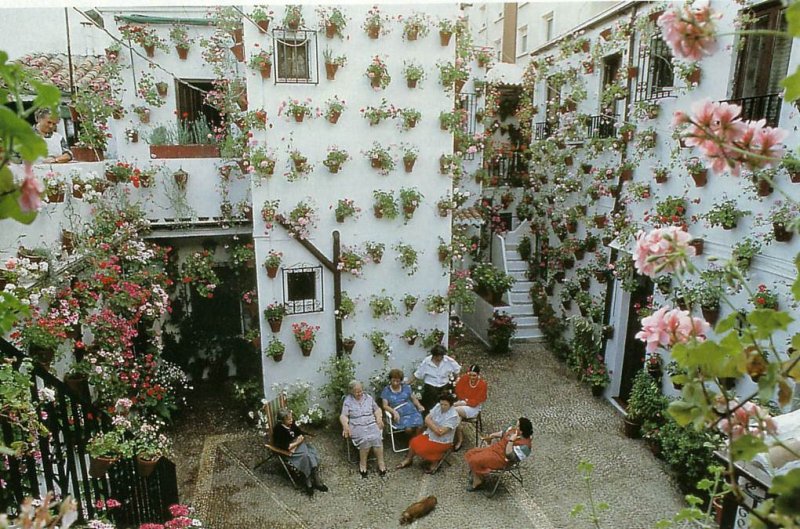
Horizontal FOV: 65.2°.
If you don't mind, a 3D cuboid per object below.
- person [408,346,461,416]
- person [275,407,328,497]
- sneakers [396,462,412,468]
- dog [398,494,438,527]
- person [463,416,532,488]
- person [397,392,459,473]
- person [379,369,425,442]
[{"bbox_3d":[0.649,2.130,11.191,1.086,1.398,0.788,2,21,5],"label":"person"},{"bbox_3d":[-1.547,2.919,9.874,0.982,1.168,0.603,1,7,41],"label":"person"},{"bbox_3d":[0.073,3.288,10.236,0.240,0.063,0.084,0,13,-11],"label":"sneakers"},{"bbox_3d":[0.312,3.622,9.206,0.736,0.366,0.224,-4,-12,-41],"label":"dog"},{"bbox_3d":[1.497,2.906,9.719,0.963,1.173,0.612,6,16,0],"label":"person"},{"bbox_3d":[0.502,2.740,10.246,0.890,1.327,0.636,8,11,-10],"label":"person"},{"bbox_3d":[0.068,2.496,10.829,0.694,1.284,0.805,-8,6,-23],"label":"person"}]
